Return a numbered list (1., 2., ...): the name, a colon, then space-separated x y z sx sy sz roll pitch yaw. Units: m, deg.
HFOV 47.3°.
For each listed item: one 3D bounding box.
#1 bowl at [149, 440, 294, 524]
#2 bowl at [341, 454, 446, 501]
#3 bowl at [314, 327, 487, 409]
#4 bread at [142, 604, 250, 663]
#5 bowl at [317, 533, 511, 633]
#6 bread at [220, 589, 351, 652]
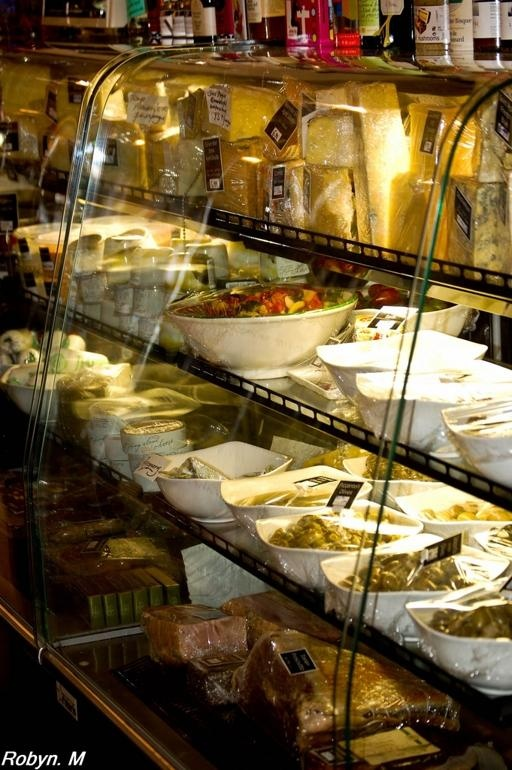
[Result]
1. bowl: -0.082 0.175 1.323 0.210 0.101 0.187 -13 22 -29
2. bowl: 0.157 0.125 0.737 0.081 0.025 0.101 -4 13 -27
3. bowl: 0.180 -0.035 0.725 0.123 0.045 0.101 -10 19 -19
4. bread: -0.124 0.520 1.292 0.137 0.079 0.169 -1 3 -37
5. bowl: 0.178 0.208 0.721 0.172 0.060 0.135 -13 16 -33
6. bread: 0.052 0.491 1.248 0.224 0.059 0.212 -2 8 -33
